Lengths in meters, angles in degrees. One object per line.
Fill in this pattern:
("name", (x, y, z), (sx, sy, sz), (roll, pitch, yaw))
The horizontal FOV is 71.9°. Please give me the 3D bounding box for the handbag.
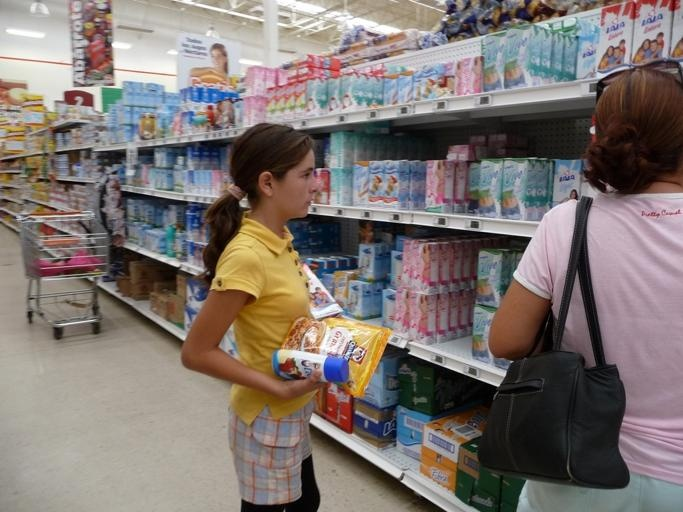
("handbag", (0.536, 0.202, 1.075), (0.306, 0.650, 0.339), (11, 19, 34))
